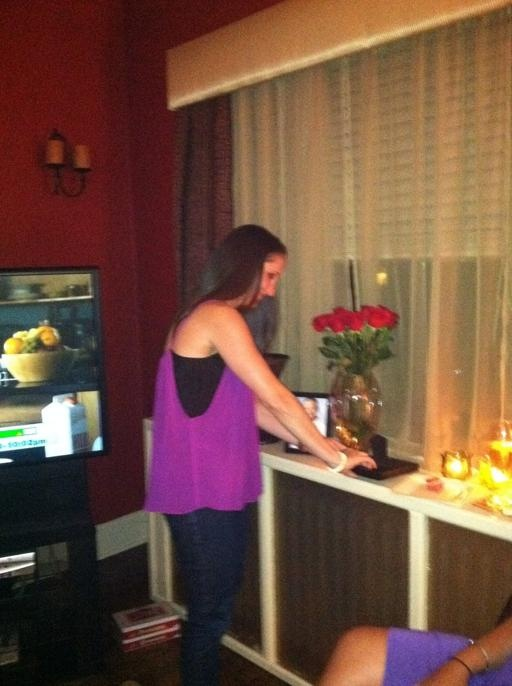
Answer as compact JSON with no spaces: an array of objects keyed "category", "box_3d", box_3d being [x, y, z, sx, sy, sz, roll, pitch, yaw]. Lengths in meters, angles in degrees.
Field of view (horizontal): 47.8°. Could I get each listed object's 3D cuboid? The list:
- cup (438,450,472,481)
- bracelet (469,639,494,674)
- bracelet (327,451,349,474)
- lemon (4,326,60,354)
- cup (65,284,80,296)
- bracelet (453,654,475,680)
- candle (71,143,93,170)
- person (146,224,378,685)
[{"category":"cup","box_3d":[0.561,0.343,1.632,0.078,0.078,0.062,1,4,28]},{"category":"bracelet","box_3d":[0.424,0.595,1.091,0.019,0.051,0.038,3,0,3]},{"category":"bracelet","box_3d":[0.219,0.325,1.534,0.024,0.066,0.052,9,3,-16]},{"category":"lemon","box_3d":[-0.792,-0.013,2.041,0.149,0.069,0.084,-17,12,-6]},{"category":"cup","box_3d":[-0.667,-0.195,2.099,0.041,0.039,0.040,-1,5,0]},{"category":"bracelet","box_3d":[0.388,0.603,1.079,0.009,0.039,0.040,-38,23,-10]},{"category":"candle","box_3d":[-0.808,-0.857,2.680,0.108,0.121,0.108,-5,0,-9]},{"category":"person","box_3d":[-0.038,0.291,1.507,0.495,1.203,0.273,-1,4,-12]}]
